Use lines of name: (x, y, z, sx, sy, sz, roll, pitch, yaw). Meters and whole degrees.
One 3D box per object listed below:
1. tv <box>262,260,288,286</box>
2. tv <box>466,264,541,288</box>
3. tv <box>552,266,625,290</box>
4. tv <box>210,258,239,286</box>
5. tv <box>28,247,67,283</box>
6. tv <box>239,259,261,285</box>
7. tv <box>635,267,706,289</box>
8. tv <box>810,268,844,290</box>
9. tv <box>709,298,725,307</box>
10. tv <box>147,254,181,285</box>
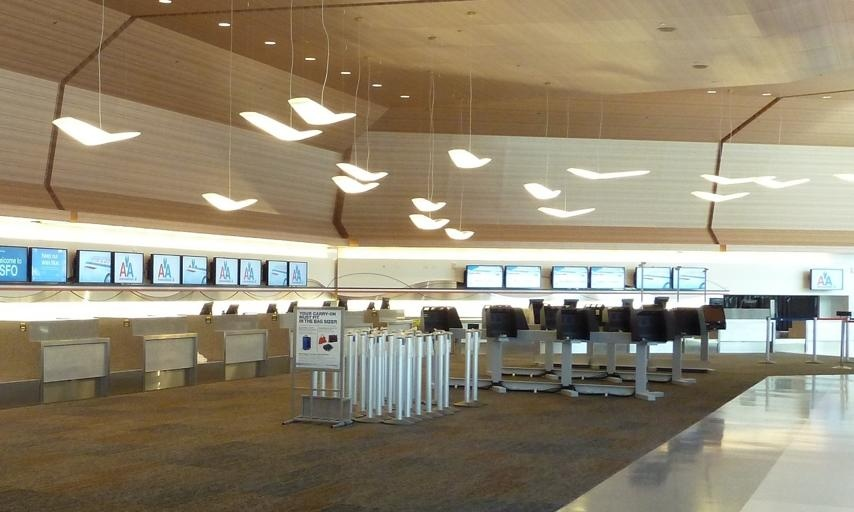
tv: (-4.912, 0.569, 20.229, 0.185, 0.859, 0.812, 2, 2, 38)
tv: (2.668, 0.756, 22.169, 2.627, 0.841, 0.264, 0, 2, -1)
tv: (5.777, 0.795, 22.425, 2.592, 0.851, 0.278, 0, 2, 0)
tv: (-6.197, 0.483, 18.842, 0.153, 0.755, 1.097, -9, -9, 41)
tv: (-9.492, 0.233, 15.448, 0.426, 0.751, 1.153, -8, -8, 38)
tv: (-5.608, 0.508, 19.473, 0.159, 0.734, 1.081, -3, 0, 34)
tv: (8.849, 0.819, 22.675, 2.636, 0.888, 0.113, 0, 2, -6)
tv: (14.750, 0.895, 23.045, 1.305, 0.783, 0.186, 0, 2, -11)
tv: (9.639, 1.564, 20.814, 0.660, 0.293, 0.287, 0, -8, 1)
tv: (-7.459, 0.383, 17.484, 0.130, 0.775, 1.124, -10, -9, 41)
